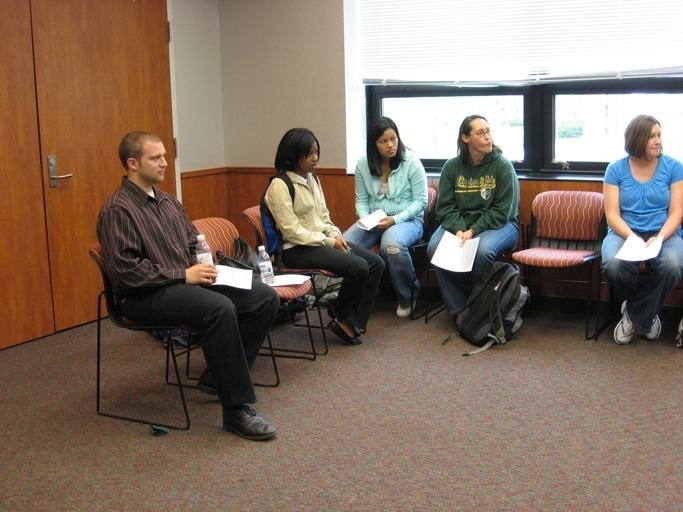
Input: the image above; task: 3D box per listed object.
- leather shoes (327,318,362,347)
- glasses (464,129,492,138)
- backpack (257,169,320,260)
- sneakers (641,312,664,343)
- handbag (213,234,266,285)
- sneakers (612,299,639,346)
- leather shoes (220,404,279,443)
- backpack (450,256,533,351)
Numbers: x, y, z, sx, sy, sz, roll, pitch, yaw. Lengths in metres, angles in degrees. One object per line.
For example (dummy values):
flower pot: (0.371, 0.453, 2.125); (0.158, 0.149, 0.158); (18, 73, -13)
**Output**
leather shoes: (0.034, 0.549, 3.861); (0.246, 0.100, 0.139); (33, 6, -1)
glasses: (1.044, -0.944, 4.123); (0.170, 0.064, 0.088); (1, 14, 9)
backpack: (-0.414, -0.396, 4.054); (0.408, 0.817, 0.574); (8, 17, 21)
sneakers: (2.133, 0.511, 3.734); (0.105, 0.264, 0.099); (21, -8, -20)
handbag: (-0.664, 0.002, 3.527); (0.363, 0.178, 0.397); (4, -22, 0)
sneakers: (1.924, 0.432, 3.722); (0.109, 0.357, 0.135); (1, 9, 4)
leather shoes: (-0.457, 0.841, 2.786); (0.305, 0.150, 0.129); (5, 7, 27)
backpack: (1.034, 0.312, 3.849); (0.474, 0.631, 0.346); (26, 24, 39)
